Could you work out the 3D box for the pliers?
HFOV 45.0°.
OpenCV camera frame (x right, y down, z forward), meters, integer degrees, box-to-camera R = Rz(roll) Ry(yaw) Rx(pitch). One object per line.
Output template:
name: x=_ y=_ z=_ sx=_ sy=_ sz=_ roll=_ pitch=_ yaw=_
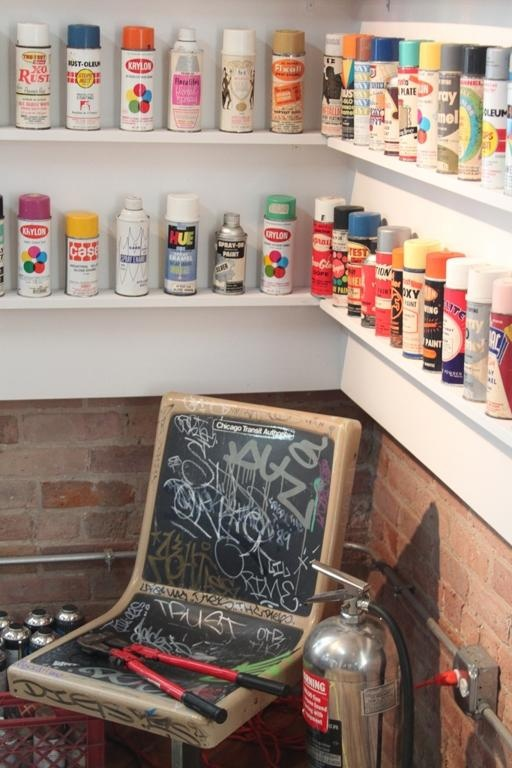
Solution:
pliers: x=-0.117 y=0.349 z=0.836 sx=0.100 sy=0.021 sz=0.293 roll=-11 pitch=15 yaw=-43
